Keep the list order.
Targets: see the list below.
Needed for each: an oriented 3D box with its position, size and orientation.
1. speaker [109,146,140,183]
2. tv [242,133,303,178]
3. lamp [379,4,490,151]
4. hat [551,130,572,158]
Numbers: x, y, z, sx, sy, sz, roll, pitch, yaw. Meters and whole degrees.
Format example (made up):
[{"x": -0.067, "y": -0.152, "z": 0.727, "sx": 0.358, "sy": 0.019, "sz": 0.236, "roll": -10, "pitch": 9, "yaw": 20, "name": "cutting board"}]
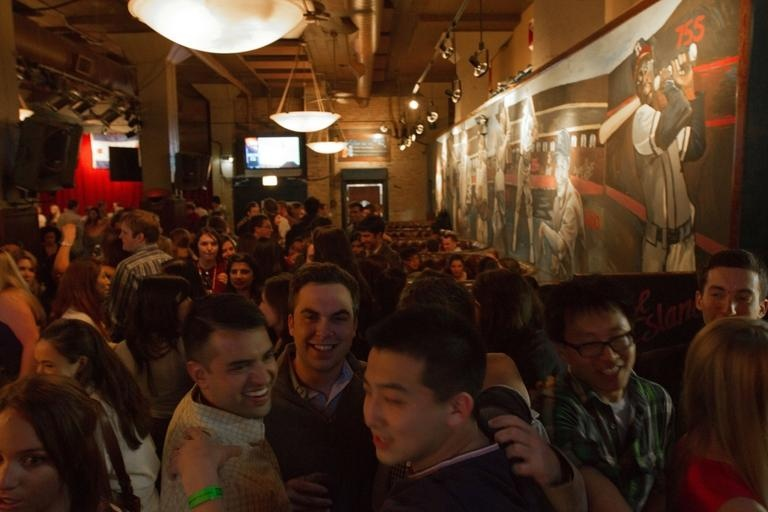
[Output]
[{"x": -5.348, "y": -1.960, "z": 11.919, "sx": 0.610, "sy": 0.713, "sz": 0.501, "roll": 2, "pitch": -2, "yaw": -28, "name": "speaker"}, {"x": -3.455, "y": -3.082, "z": 17.472, "sx": 1.370, "sy": 0.968, "sz": 0.199, "roll": 0, "pitch": -2, "yaw": -3, "name": "tv"}, {"x": 1.261, "y": -4.409, "z": 13.936, "sx": 0.663, "sy": 0.896, "sz": 3.812, "roll": 3, "pitch": -20, "yaw": -11, "name": "lamp"}, {"x": 1.961, "y": -1.231, "z": 6.315, "sx": 0.064, "sy": 0.244, "sz": 0.187, "roll": -1, "pitch": -4, "yaw": -18, "name": "hat"}]
